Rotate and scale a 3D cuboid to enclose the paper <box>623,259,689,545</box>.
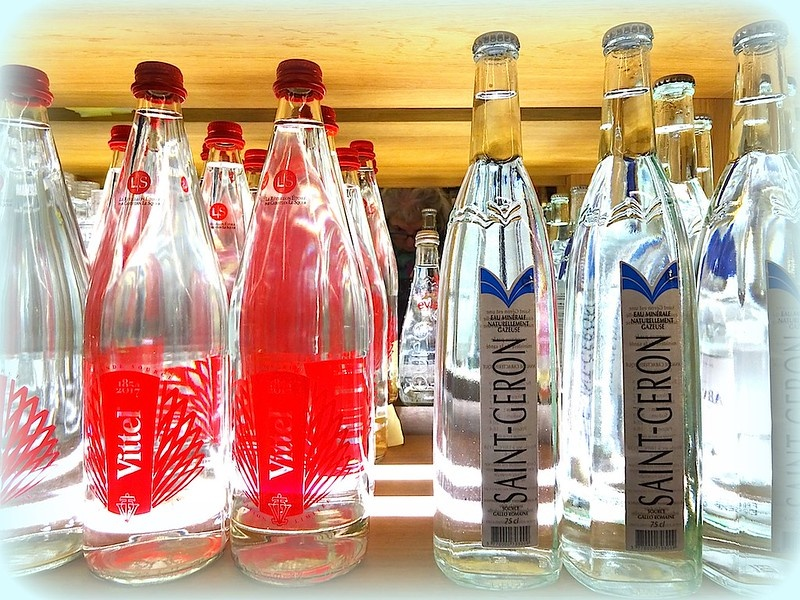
[{"bbox_3d":[0.215,0.089,0.619,0.054,0.160,0.022,-2,1,4],"label":"paper"}]

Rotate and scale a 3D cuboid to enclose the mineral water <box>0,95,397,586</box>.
[{"bbox_3d":[-0.204,0.025,0.683,0.341,0.449,0.145,-2,1,-1],"label":"mineral water"}]
